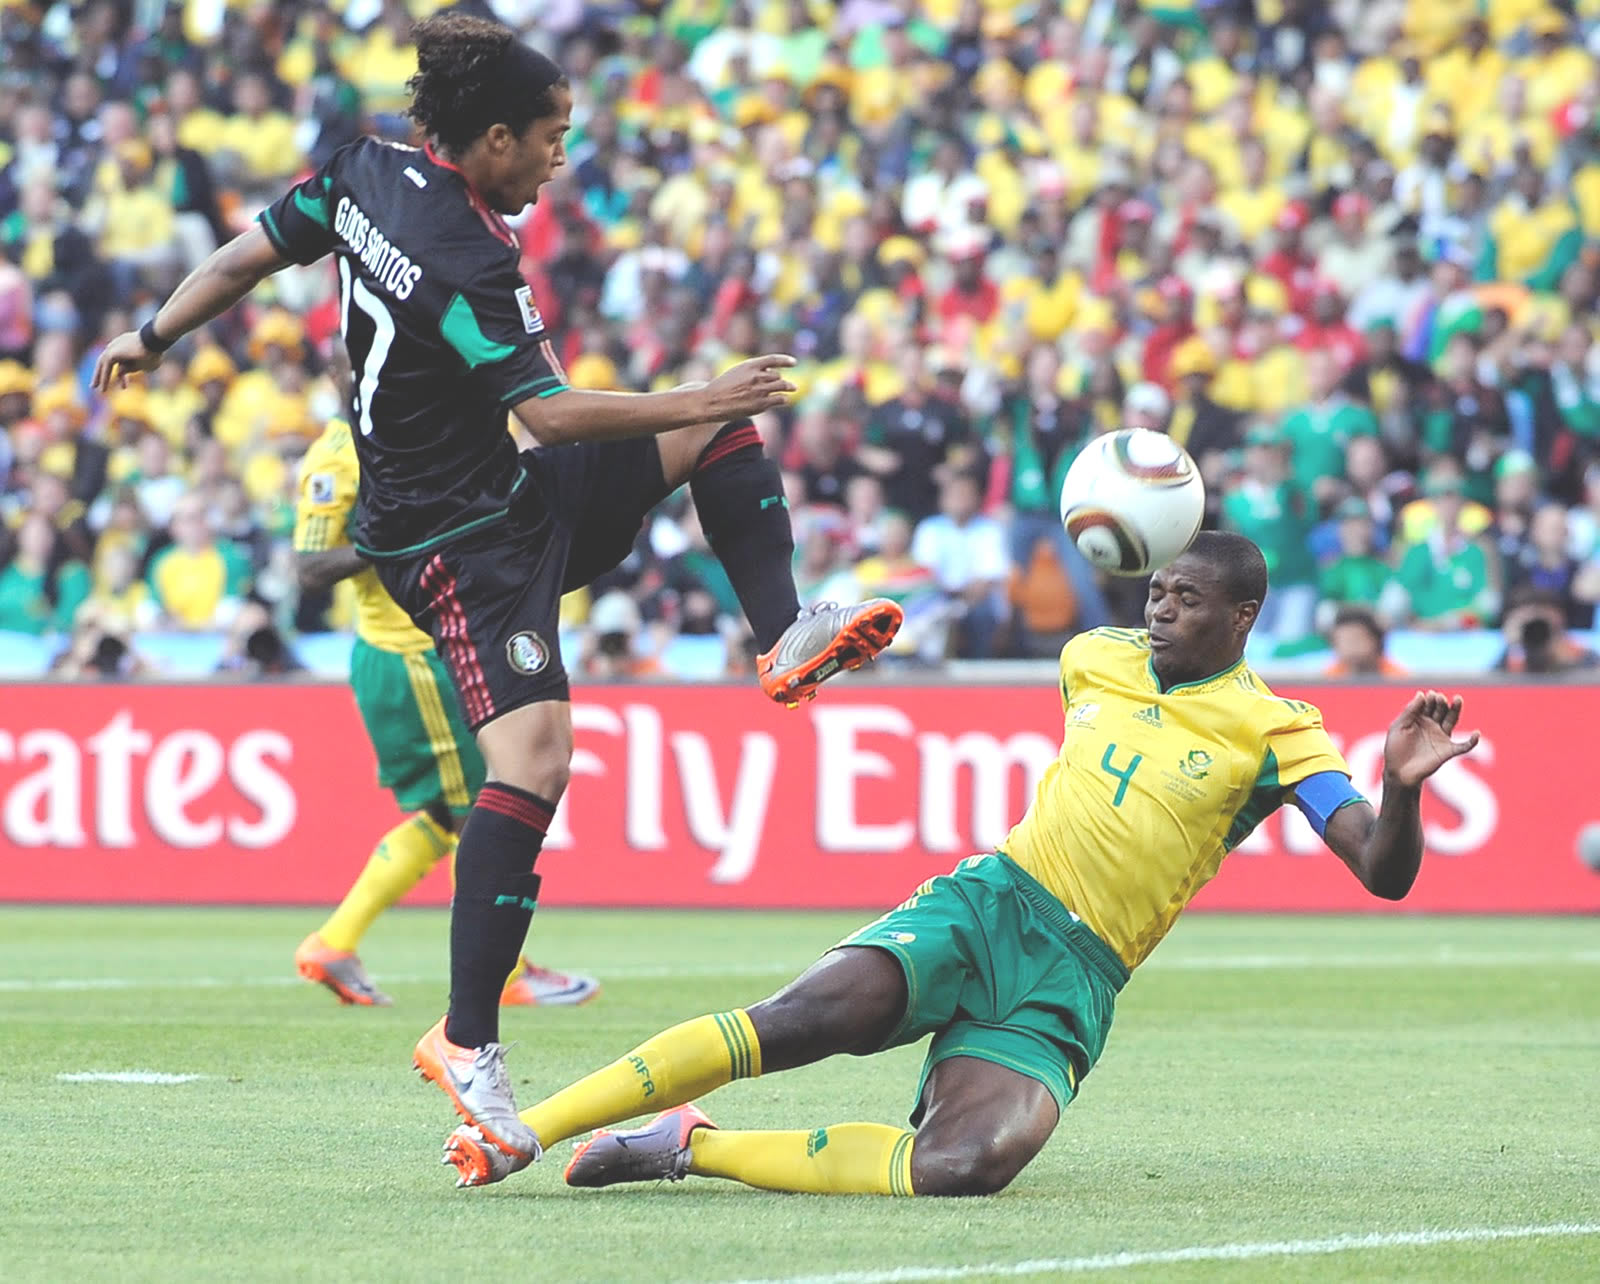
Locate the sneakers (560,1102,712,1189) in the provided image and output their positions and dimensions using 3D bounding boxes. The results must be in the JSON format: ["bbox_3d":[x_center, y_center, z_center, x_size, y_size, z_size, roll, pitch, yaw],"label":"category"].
[{"bbox_3d":[-0.449,1.243,6.202,0.202,0.223,0.581,-23,-22,33],"label":"sneakers"}]

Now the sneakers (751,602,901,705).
[{"bbox_3d":[0.079,-0.005,6.630,0.157,0.456,0.207,30,36,-37],"label":"sneakers"}]
